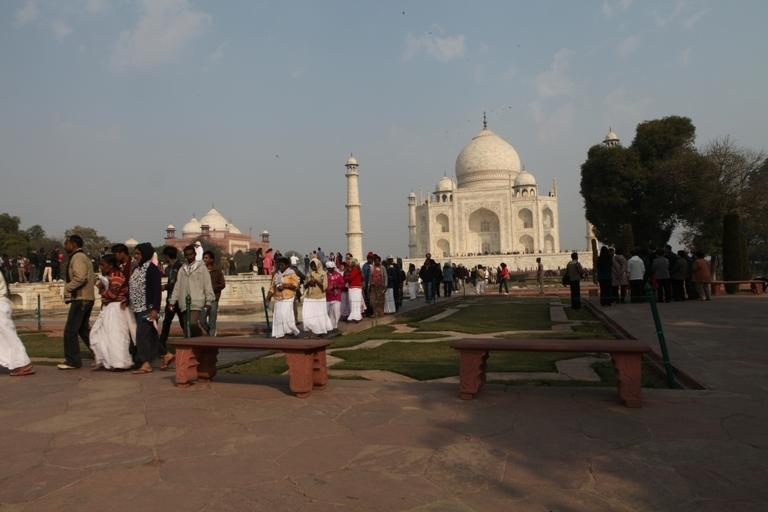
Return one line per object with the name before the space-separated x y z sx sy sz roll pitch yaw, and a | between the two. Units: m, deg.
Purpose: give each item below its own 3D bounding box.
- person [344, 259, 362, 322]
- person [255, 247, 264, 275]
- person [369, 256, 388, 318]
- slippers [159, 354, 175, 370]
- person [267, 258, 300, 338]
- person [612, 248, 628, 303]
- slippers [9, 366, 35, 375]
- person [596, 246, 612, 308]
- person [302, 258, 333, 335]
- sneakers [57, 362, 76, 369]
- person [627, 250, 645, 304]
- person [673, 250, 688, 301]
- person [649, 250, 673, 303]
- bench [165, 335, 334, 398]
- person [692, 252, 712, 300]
person | -0.663 0.773 14.581 0.358 1.399 0.629 -3 13 -4
person | -5.043 0.272 27.140 0.293 1.128 1.232 -4 12 -10
person | -0.143 0.700 15.365 0.377 1.495 0.709 -2 13 1
slippers | -3.111 1.496 9.626 0.150 0.129 0.366 31 11 -3
person | -1.846 0.835 12.336 0.531 1.611 0.892 -4 13 -9
person | 6.110 0.524 17.384 0.359 1.308 1.669 3 13 20
slippers | -4.994 1.580 9.185 0.372 0.149 0.128 3 -5 -15
person | 5.411 0.506 16.429 0.383 1.487 0.845 2 13 17
person | -1.276 0.797 12.433 0.525 1.542 0.810 -3 13 -4
sneakers | -4.499 1.546 9.473 0.204 0.077 0.116 8 -6 -9
person | 6.096 0.568 16.188 0.372 1.235 0.729 3 14 22
person | 7.386 0.470 16.710 0.374 1.366 0.979 4 14 24
person | 6.738 0.568 16.282 0.480 1.287 1.142 3 13 23
bench | -1.620 1.313 8.209 1.973 0.716 0.543 3 13 19
person | 8.007 0.465 16.871 0.453 1.292 1.083 4 14 24
